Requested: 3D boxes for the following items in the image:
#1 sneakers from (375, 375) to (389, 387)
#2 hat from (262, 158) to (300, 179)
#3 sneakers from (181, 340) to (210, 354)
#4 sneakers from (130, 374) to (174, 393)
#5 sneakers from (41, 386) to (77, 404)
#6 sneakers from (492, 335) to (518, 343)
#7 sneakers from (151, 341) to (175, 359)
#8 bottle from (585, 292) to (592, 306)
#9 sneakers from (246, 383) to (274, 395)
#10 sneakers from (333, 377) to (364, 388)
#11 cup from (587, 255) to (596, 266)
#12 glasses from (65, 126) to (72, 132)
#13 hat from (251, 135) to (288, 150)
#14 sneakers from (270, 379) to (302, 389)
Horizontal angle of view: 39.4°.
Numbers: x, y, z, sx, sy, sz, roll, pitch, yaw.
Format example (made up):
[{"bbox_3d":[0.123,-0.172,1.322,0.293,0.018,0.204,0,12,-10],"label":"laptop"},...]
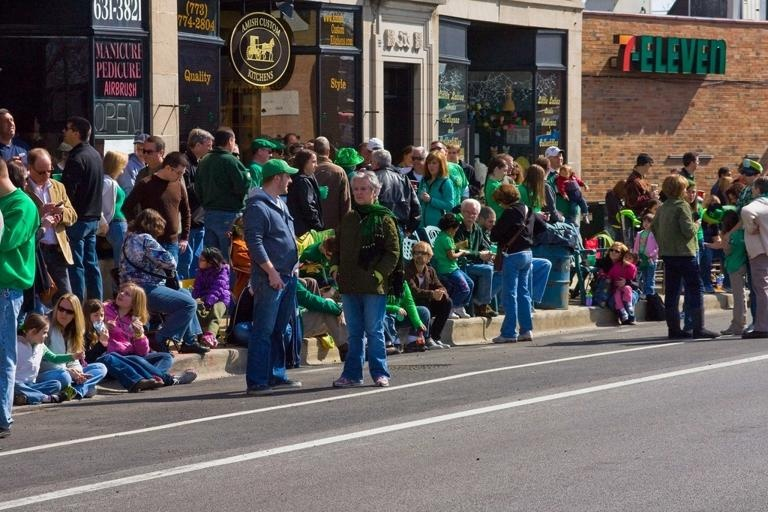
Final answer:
[{"bbox_3d":[-0.015,1.607,13.820,0.186,0.124,0.176,-2,11,-9],"label":"sneakers"},{"bbox_3d":[-1.326,-1.106,13.572,0.373,0.229,0.259,-7,12,-12],"label":"hat"},{"bbox_3d":[-2.565,1.246,14.704,0.394,0.207,0.146,2,0,-6],"label":"sneakers"},{"bbox_3d":[-3.033,1.684,13.909,0.151,0.240,0.499,-25,-20,20],"label":"sneakers"},{"bbox_3d":[-4.008,1.723,13.326,0.353,0.193,0.123,-1,-3,-33],"label":"sneakers"},{"bbox_3d":[1.947,1.305,17.172,0.339,0.193,0.145,2,2,3],"label":"sneakers"},{"bbox_3d":[-2.901,1.256,14.372,0.386,0.192,0.130,12,-3,-40],"label":"sneakers"},{"bbox_3d":[3.718,0.806,19.373,0.134,0.230,0.138,0,8,0],"label":"bottle"},{"bbox_3d":[-1.554,1.685,13.573,0.310,0.153,0.126,-1,-1,3],"label":"sneakers"},{"bbox_3d":[-0.454,1.640,13.861,0.369,0.191,0.145,6,-8,-19],"label":"sneakers"},{"bbox_3d":[3.821,0.093,19.814,0.156,0.193,0.171,0,3,0],"label":"cup"},{"bbox_3d":[-4.382,-1.770,14.988,0.022,0.090,0.083,10,-11,-43],"label":"glasses"},{"bbox_3d":[-1.750,-1.810,17.030,0.669,0.241,0.497,6,1,-10],"label":"hat"},{"bbox_3d":[-1.243,1.615,13.871,0.368,0.191,0.145,-2,-1,-12],"label":"sneakers"}]
